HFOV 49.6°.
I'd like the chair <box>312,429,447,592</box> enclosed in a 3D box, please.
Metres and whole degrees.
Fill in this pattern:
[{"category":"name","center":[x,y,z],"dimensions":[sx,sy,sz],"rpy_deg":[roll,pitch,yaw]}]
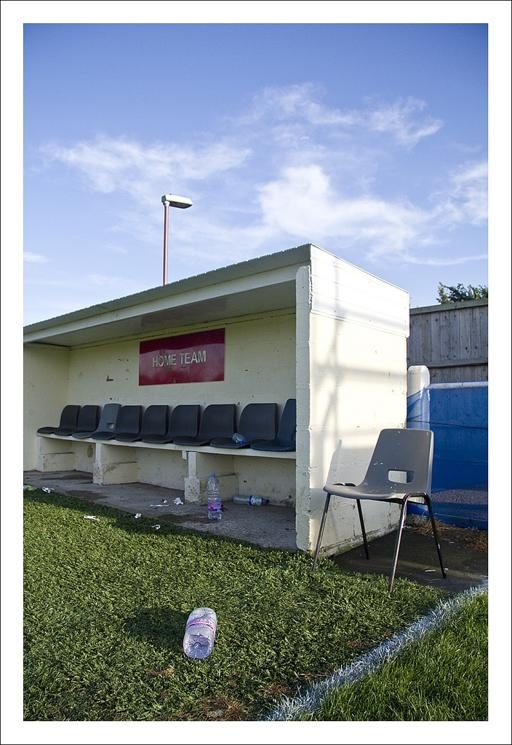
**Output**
[{"category":"chair","center":[0.760,0.816,3.428],"dimensions":[0.785,0.938,0.843],"rpy_deg":[3,-4,4]}]

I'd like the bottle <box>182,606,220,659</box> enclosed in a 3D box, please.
[{"category":"bottle","center":[-0.236,1.085,2.380],"dimensions":[0.114,0.104,0.373],"rpy_deg":[28,0,0]}]
